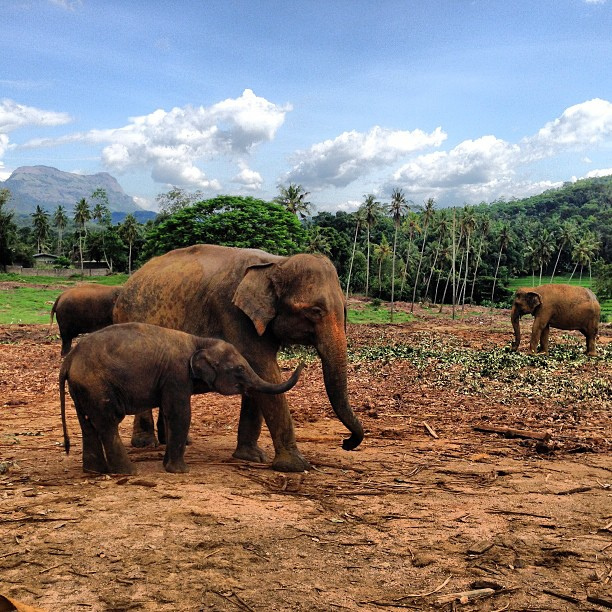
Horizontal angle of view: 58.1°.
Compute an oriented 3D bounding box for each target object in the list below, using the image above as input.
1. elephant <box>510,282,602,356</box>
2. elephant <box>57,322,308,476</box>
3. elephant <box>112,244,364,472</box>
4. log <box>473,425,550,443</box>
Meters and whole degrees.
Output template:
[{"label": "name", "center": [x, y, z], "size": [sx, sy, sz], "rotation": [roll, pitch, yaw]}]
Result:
[{"label": "elephant", "center": [7.505, 0.361, 16.583], "size": [2.416, 1.988, 1.386], "rotation": [5, -1, 22]}, {"label": "elephant", "center": [-1.165, 0.931, 5.548], "size": [2.477, 1.152, 0.679], "rotation": [0, -7, -19]}, {"label": "elephant", "center": [-0.800, 0.546, 6.389], "size": [3.397, 2.232, 1.410], "rotation": [4, 1, 33]}, {"label": "log", "center": [2.850, 1.741, 7.662], "size": [0.219, 0.211, 1.178], "rotation": [6, -2, -28]}]
